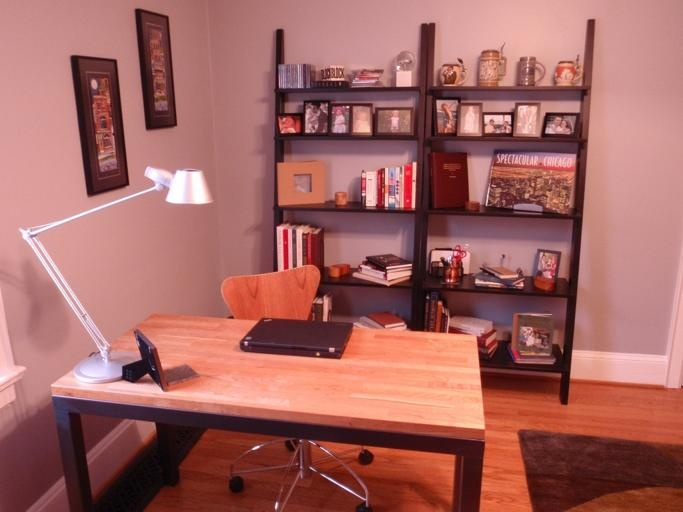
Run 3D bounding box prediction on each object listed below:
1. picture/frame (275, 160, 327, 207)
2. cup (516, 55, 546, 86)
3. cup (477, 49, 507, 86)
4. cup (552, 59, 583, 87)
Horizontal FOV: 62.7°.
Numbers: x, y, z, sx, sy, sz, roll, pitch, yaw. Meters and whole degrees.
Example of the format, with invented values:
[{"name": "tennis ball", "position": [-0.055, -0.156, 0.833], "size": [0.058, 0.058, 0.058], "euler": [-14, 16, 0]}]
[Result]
[{"name": "picture/frame", "position": [-0.300, -0.525, 4.069], "size": [0.346, 0.293, 0.116], "euler": [-2, 12, -5]}, {"name": "cup", "position": [1.280, -1.255, 3.791], "size": [0.193, 0.216, 0.315], "euler": [5, 14, 19]}, {"name": "cup", "position": [1.027, -1.287, 3.833], "size": [0.217, 0.228, 0.149], "euler": [0, 15, 5]}, {"name": "cup", "position": [1.512, -1.230, 3.738], "size": [0.193, 0.240, 0.201], "euler": [-1, 9, 0]}]
